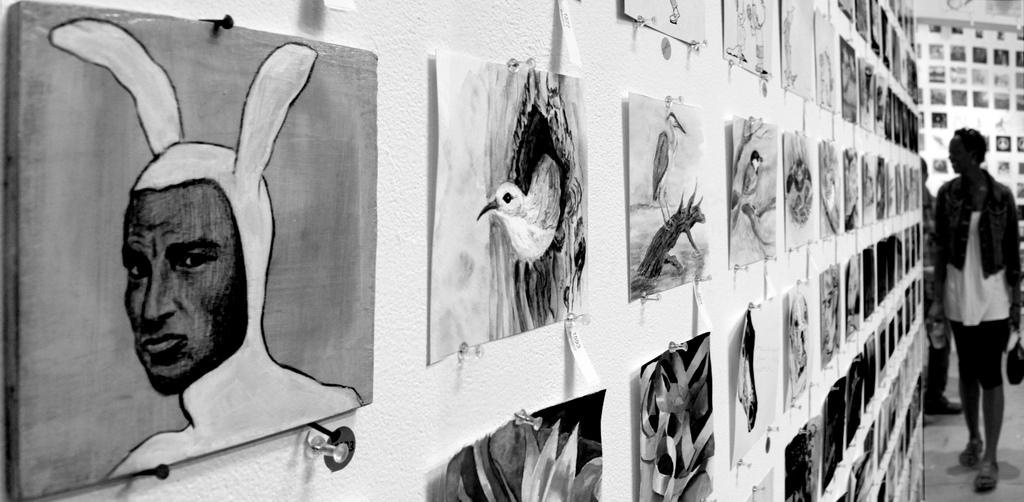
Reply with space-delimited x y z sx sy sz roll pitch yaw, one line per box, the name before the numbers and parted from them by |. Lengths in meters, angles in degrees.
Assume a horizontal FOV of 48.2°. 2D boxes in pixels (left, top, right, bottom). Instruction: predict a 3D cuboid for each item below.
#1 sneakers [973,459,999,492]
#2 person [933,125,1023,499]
sneakers | 3.022 1.406 7.264 0.088 0.115 0.268 -6 21 39
person | 2.911 0.366 7.043 0.428 2.146 0.784 -6 -12 19
